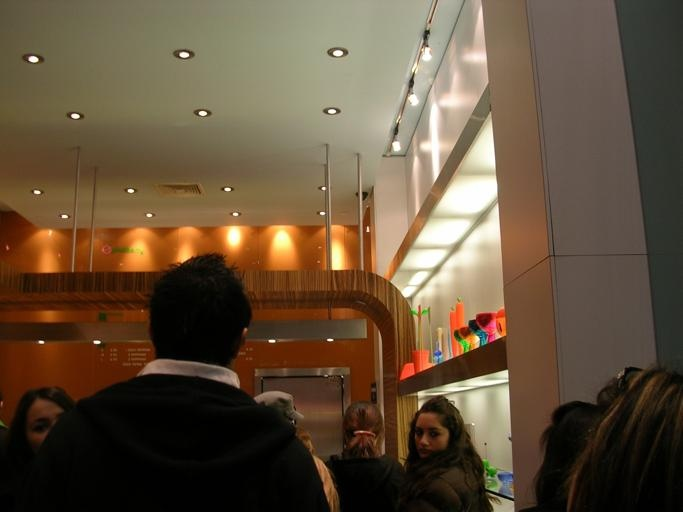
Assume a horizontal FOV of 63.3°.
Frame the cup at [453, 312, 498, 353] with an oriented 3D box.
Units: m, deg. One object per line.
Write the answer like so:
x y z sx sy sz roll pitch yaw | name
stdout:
0.678 0.390 2.768 0.136 0.130 0.326 6 -27 -8 | cup
